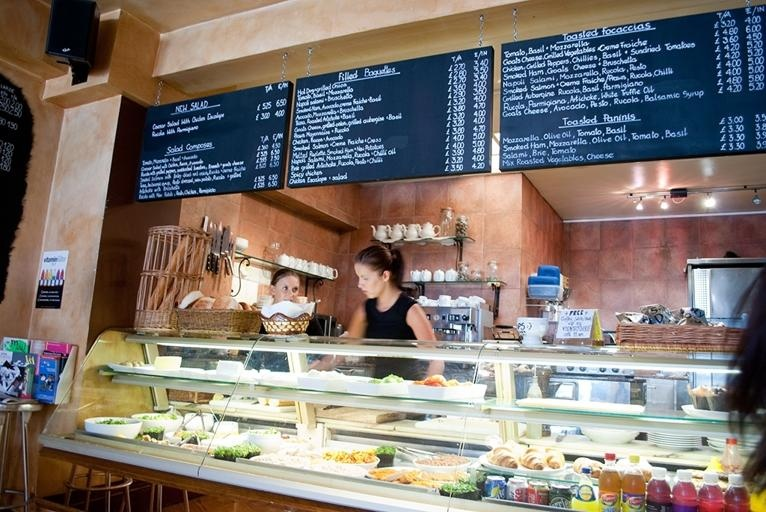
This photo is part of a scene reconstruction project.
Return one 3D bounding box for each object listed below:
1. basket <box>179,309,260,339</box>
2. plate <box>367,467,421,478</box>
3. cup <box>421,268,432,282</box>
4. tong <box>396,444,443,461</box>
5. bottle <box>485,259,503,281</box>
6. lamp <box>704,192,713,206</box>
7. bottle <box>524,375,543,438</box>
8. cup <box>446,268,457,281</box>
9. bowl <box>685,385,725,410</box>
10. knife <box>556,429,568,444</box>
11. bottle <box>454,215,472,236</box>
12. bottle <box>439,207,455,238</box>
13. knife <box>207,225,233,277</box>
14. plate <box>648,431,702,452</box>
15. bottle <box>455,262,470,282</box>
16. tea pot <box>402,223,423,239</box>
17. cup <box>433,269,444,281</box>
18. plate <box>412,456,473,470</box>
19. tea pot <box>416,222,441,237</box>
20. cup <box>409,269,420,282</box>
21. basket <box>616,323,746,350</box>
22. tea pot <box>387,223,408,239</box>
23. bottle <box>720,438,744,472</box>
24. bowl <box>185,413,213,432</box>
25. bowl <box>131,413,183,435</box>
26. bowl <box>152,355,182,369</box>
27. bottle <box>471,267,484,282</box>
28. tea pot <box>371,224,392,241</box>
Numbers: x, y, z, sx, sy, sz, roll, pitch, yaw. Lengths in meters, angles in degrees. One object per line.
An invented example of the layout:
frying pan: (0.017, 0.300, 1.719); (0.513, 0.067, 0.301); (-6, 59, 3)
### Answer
basket: (-0.982, 0.393, 3.231); (0.328, 0.102, 0.240); (1, -4, 18)
plate: (0.043, 1.044, 2.610); (0.239, 0.046, 0.085); (1, -8, 2)
cup: (0.491, 0.233, 6.327); (0.146, 0.139, 0.107); (-2, -6, 15)
tong: (0.146, 0.978, 2.676); (0.128, 0.018, 0.085); (1, 2, 44)
bottle: (1.226, 0.163, 6.059); (0.208, 0.309, 0.204); (1, -12, 0)
lamp: (3.768, -0.657, 6.321); (0.120, 0.147, 0.050); (-3, 14, -34)
bottle: (0.710, 0.718, 2.558); (0.073, 0.301, 0.124); (-1, -9, 14)
cup: (0.763, 0.225, 6.182); (0.103, 0.127, 0.130); (2, -10, -1)
bowl: (1.387, 0.614, 2.333); (0.127, 0.107, 0.070); (-4, -10, 37)
knife: (0.846, 0.854, 2.572); (0.039, 0.065, 0.027); (11, -15, 39)
bottle: (0.909, -0.343, 6.227); (0.121, 0.119, 0.211); (-12, 31, 16)
bottle: (0.736, -0.382, 6.208); (0.162, 0.336, 0.096); (1, -9, 4)
knife: (-1.307, -0.056, 4.413); (0.117, 0.410, 0.254); (-3, -9, 25)
plate: (1.332, 0.852, 2.489); (0.153, 0.054, 0.145); (1, -4, 1)
bottle: (0.916, 0.181, 6.186); (0.152, 0.212, 0.133); (0, -8, 7)
tea pot: (0.335, -0.287, 6.300); (0.201, 0.176, 0.151); (4, -9, 10)
cup: (0.633, 0.228, 6.249); (0.115, 0.114, 0.114); (1, -11, 0)
plate: (0.281, 0.986, 2.589); (0.126, 0.027, 0.119); (1, -5, -9)
tea pot: (0.521, -0.289, 6.300); (0.245, 0.149, 0.137); (0, -4, -5)
cup: (0.375, 0.238, 6.362); (0.130, 0.106, 0.097); (0, 1, 14)
basket: (1.334, 0.375, 2.483); (0.471, 0.122, 0.137); (-4, -10, 38)
tea pot: (0.161, -0.283, 6.451); (0.203, 0.178, 0.152); (-2, -4, 20)
bottle: (1.515, 0.868, 2.361); (0.075, 0.154, 0.075); (1, -8, 0)
bowl: (-1.026, 0.929, 3.046); (0.127, 0.080, 0.126); (1, -2, 0)
bowl: (-1.282, 0.954, 3.135); (0.154, 0.059, 0.146); (1, -4, 0)
bowl: (-1.239, 0.619, 3.143); (0.112, 0.045, 0.106); (1, -6, 0)
bottle: (1.065, 0.224, 6.154); (0.117, 0.120, 0.116); (1, 1, 42)
tea pot: (-0.033, -0.316, 6.512); (0.286, 0.174, 0.173); (1, -9, 2)
